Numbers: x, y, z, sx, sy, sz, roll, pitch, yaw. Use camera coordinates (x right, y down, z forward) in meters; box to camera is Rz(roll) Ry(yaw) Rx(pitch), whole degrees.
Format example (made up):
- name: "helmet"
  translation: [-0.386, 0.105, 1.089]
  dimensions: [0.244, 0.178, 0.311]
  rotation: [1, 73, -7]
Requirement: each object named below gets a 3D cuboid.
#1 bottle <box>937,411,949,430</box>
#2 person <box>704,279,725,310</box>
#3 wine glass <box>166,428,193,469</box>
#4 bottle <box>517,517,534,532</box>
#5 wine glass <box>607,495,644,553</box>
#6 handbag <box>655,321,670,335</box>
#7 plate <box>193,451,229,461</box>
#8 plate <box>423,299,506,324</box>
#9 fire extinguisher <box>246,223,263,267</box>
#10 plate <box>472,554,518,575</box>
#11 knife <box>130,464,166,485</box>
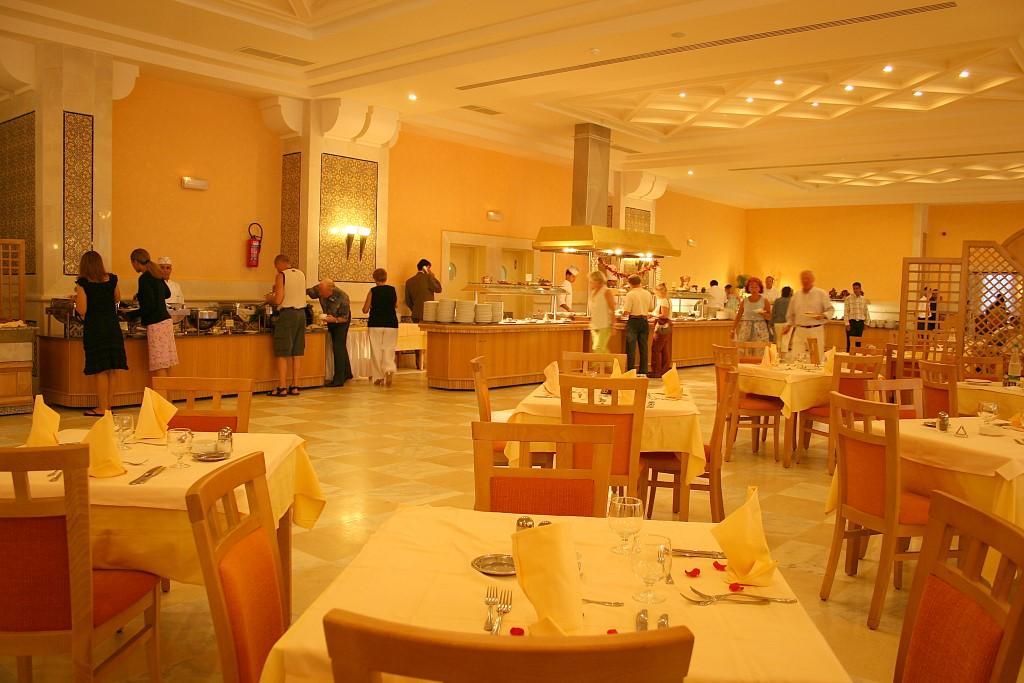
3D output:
- name: "bottle"
  translation: [2.760, 0.512, 4.691]
  dimensions: [0.064, 0.103, 0.138]
  rotation: [5, 6, 30]
- name: "person"
  translation: [4.625, -1.044, 16.714]
  dimensions: [0.404, 0.654, 0.980]
  rotation: [4, 5, 14]
- name: "wine glass"
  translation: [-1.697, 0.554, 3.732]
  dimensions: [0.112, 0.171, 0.118]
  rotation: [6, 9, 26]
- name: "bottle"
  translation: [0.048, 0.733, 2.969]
  dimensions: [0.060, 0.031, 0.085]
  rotation: [2, 5, 8]
- name: "wine glass"
  translation: [0.430, 0.724, 2.819]
  dimensions: [0.123, 0.236, 0.207]
  rotation: [3, 5, 7]
- name: "handbag"
  translation: [2.690, -0.226, 13.128]
  dimensions: [0.267, 0.207, 0.164]
  rotation: [3, 5, 10]
- name: "plate"
  translation: [-1.526, 0.584, 3.718]
  dimensions: [0.166, 0.037, 0.101]
  rotation: [1, 5, -23]
- name: "plate"
  translation: [-0.742, -0.442, 11.115]
  dimensions: [1.168, 0.343, 0.383]
  rotation: [2, 5, -10]
- name: "fire extinguisher"
  translation: [-4.156, -1.567, 11.902]
  dimensions: [0.161, 0.734, 0.332]
  rotation: [5, 6, 29]
- name: "plate"
  translation: [-0.078, 0.869, 2.851]
  dimensions: [0.166, 0.035, 0.156]
  rotation: [2, 5, -2]
- name: "knife"
  translation: [-1.716, 0.633, 3.451]
  dimensions: [0.033, 0.025, 0.139]
  rotation: [9, 15, 23]
